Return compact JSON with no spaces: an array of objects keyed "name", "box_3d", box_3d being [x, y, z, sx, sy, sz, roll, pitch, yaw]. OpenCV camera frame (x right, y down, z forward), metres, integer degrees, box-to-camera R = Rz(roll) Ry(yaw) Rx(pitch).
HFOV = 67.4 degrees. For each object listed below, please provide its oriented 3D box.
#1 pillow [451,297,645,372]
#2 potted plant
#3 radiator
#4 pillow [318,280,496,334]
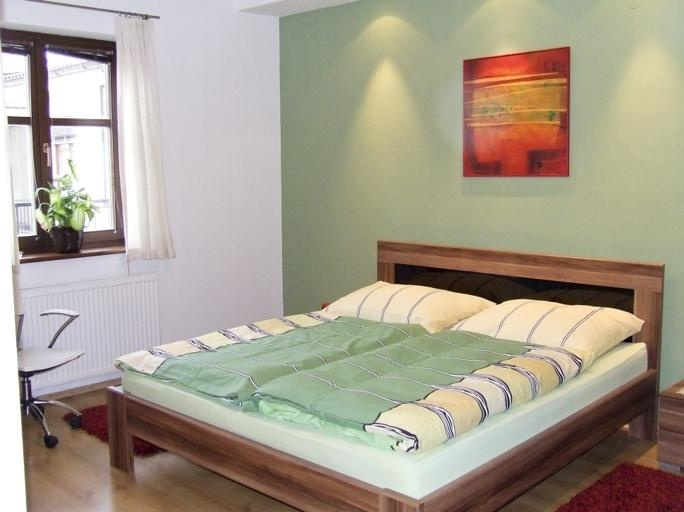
[{"name":"pillow","box_3d":[1.277,0.491,3.509,1.313,0.342,0.887,-8,-7,25]},{"name":"potted plant","box_3d":[-2.210,-0.395,4.098,0.439,0.716,0.335,-11,15,-28]},{"name":"radiator","box_3d":[-1.932,0.570,3.843,0.992,0.590,0.043,-9,5,-34]},{"name":"pillow","box_3d":[0.423,0.347,3.666,0.630,0.140,0.552,5,10,38]}]
